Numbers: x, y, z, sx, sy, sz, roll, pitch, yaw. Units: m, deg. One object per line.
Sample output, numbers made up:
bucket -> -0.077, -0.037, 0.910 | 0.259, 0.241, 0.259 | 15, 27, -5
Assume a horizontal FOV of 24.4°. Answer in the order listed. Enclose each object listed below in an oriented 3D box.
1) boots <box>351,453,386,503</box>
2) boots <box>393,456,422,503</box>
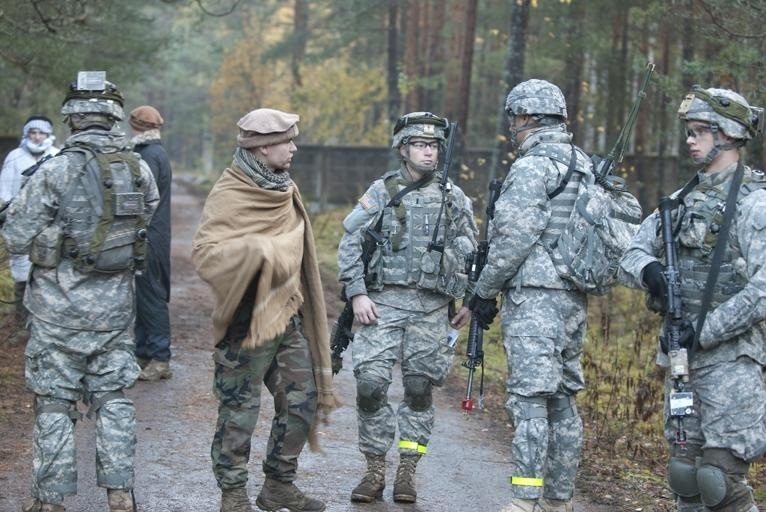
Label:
boots -> -0.186, 2.792, 21.953 | 0.432, 0.568, 0.328 | 3, 3, -3
boots -> 0.281, 2.803, 22.039 | 0.296, 0.577, 0.372 | 3, 3, 1
